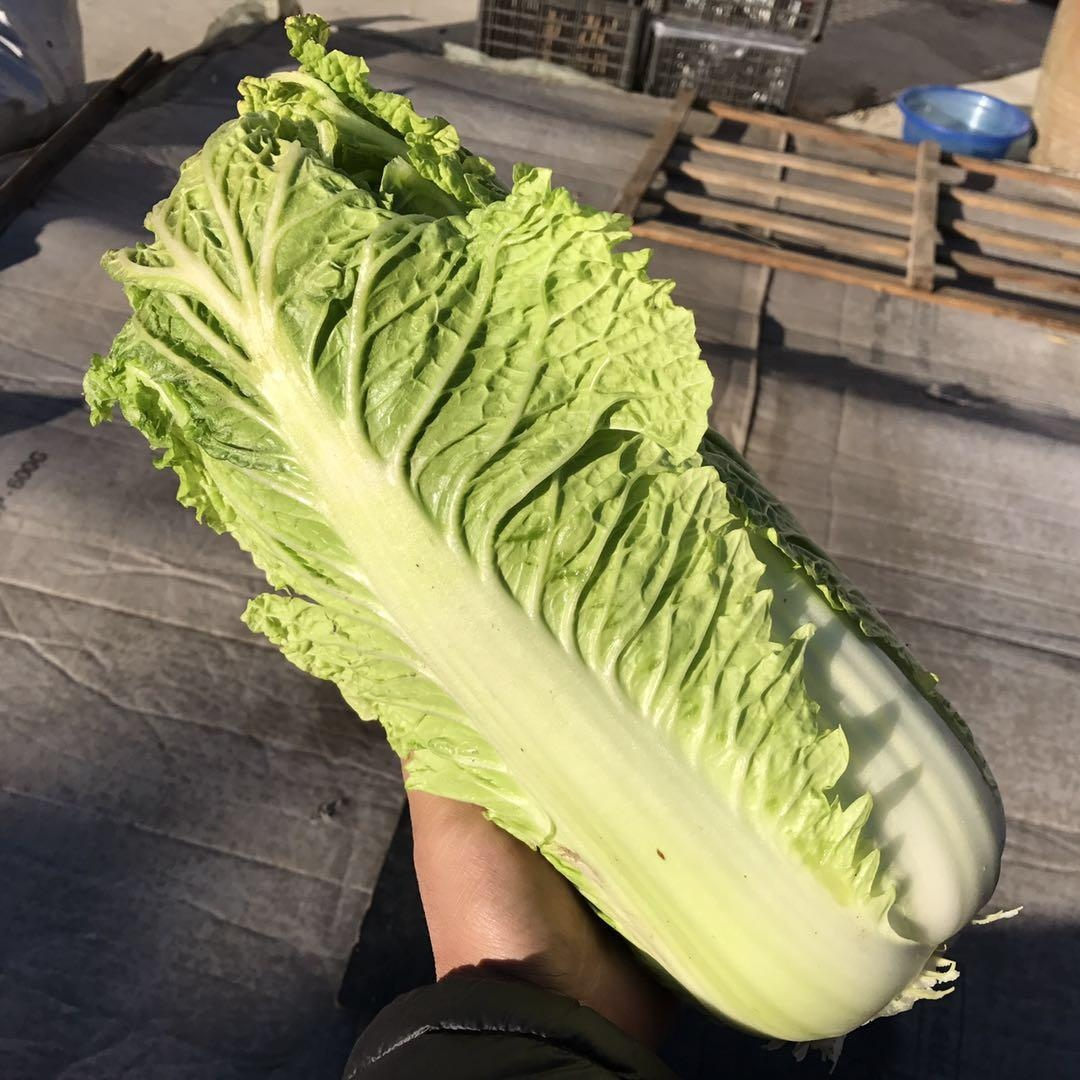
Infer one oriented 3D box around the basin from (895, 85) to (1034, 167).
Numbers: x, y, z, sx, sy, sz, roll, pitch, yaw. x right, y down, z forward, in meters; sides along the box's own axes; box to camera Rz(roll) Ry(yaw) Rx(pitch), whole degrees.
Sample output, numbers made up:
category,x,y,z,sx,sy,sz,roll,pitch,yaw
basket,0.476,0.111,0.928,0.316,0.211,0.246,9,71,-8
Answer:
category,x,y,z,sx,sy,sz,roll,pitch,yaw
basin,3.257,-3.265,9.156,0.988,0.327,0.968,8,7,-1
